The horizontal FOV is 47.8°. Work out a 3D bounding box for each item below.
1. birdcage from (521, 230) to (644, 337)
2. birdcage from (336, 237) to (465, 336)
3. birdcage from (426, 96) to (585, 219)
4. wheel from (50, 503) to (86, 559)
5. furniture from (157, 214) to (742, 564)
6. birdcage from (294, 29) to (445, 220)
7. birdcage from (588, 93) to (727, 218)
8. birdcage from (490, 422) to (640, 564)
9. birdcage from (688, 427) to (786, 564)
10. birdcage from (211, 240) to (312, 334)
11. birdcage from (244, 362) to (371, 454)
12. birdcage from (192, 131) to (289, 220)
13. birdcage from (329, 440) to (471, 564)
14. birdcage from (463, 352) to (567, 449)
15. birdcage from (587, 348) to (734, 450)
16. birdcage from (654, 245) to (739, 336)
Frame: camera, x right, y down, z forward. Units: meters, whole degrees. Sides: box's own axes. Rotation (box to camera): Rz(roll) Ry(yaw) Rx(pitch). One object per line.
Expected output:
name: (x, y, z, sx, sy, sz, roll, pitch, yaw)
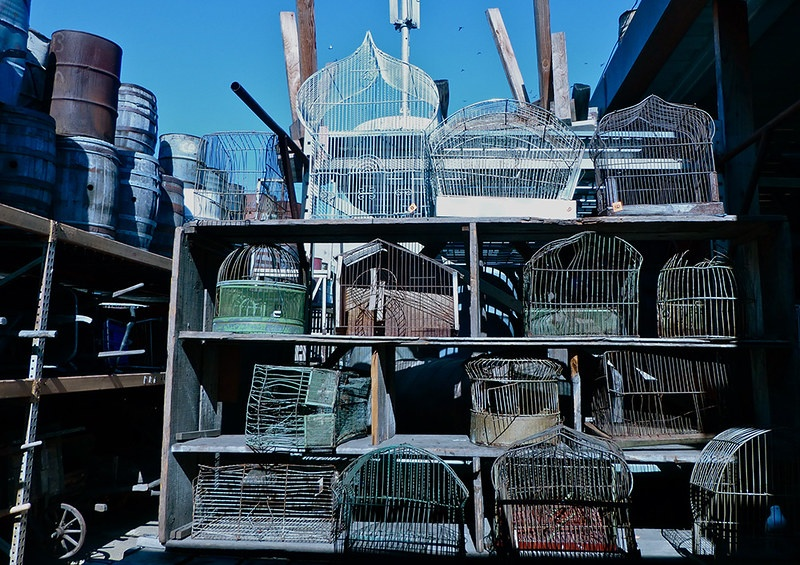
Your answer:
birdcage: (2.154, 0.116, 10.901, 1.192, 1.252, 1.361, -1, -10, 5)
birdcage: (0.040, -0.033, 11.248, 1.914, 1.138, 1.957, -7, 8, -22)
birdcage: (1.331, -1.617, 11.640, 1.947, 1.568, 1.189, 2, 17, 3)
wheel: (-3.877, 2.903, 10.543, 0.374, 0.632, 0.281, 2, -7, -22)
furniture: (0.064, 1.248, 10.138, 5.783, 3.848, 1.834, -1, -5, 29)
birdcage: (-0.357, -1.903, 12.432, 1.897, 2.874, 1.674, -3, 29, -8)
birdcage: (3.156, -1.639, 11.695, 1.468, 1.483, 1.485, -8, -4, -14)
birdcage: (1.803, 2.318, 10.023, 1.556, 1.454, 0.579, -1, -7, 5)
birdcage: (3.828, 2.381, 10.208, 1.161, 1.453, 0.625, 2, -7, -21)
birdcage: (-1.692, 0.133, 11.015, 1.035, 1.112, 1.071, 5, -8, -25)
birdcage: (-1.084, 1.485, 10.612, 1.448, 1.011, 0.856, 1, -7, -8)
birdcage: (-2.039, -1.375, 11.778, 1.171, 1.413, 1.607, 1, -7, -13)
birdcage: (0.040, 2.628, 10.479, 1.947, 1.589, 1.111, 0, -5, 8)
birdcage: (1.292, 1.464, 10.876, 1.102, 1.054, 1.069, 11, -15, -38)
birdcage: (3.097, 1.344, 10.845, 1.188, 0.885, 0.744, -1, 7, 10)
birdcage: (3.548, 0.116, 10.767, 0.976, 1.140, 1.005, 4, -11, -16)
